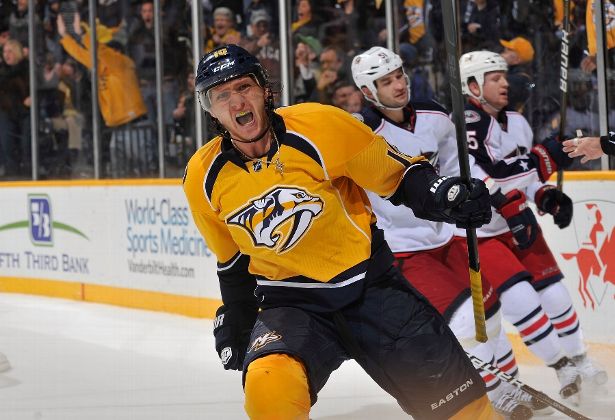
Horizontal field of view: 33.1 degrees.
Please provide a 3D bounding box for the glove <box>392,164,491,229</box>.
[{"bbox_3d":[0.917,-0.087,7.010,0.442,0.224,0.479,13,12,5],"label":"glove"}]

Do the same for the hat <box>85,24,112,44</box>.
[{"bbox_3d":[-2.205,-1.927,11.249,0.206,0.211,0.058,0,13,8],"label":"hat"}]

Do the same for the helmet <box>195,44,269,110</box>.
[{"bbox_3d":[-0.569,-0.962,7.403,0.396,0.457,0.464,-20,-16,-1],"label":"helmet"}]

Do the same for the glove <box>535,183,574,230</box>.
[{"bbox_3d":[1.970,-0.040,8.207,0.336,0.261,0.144,47,24,23],"label":"glove"}]
